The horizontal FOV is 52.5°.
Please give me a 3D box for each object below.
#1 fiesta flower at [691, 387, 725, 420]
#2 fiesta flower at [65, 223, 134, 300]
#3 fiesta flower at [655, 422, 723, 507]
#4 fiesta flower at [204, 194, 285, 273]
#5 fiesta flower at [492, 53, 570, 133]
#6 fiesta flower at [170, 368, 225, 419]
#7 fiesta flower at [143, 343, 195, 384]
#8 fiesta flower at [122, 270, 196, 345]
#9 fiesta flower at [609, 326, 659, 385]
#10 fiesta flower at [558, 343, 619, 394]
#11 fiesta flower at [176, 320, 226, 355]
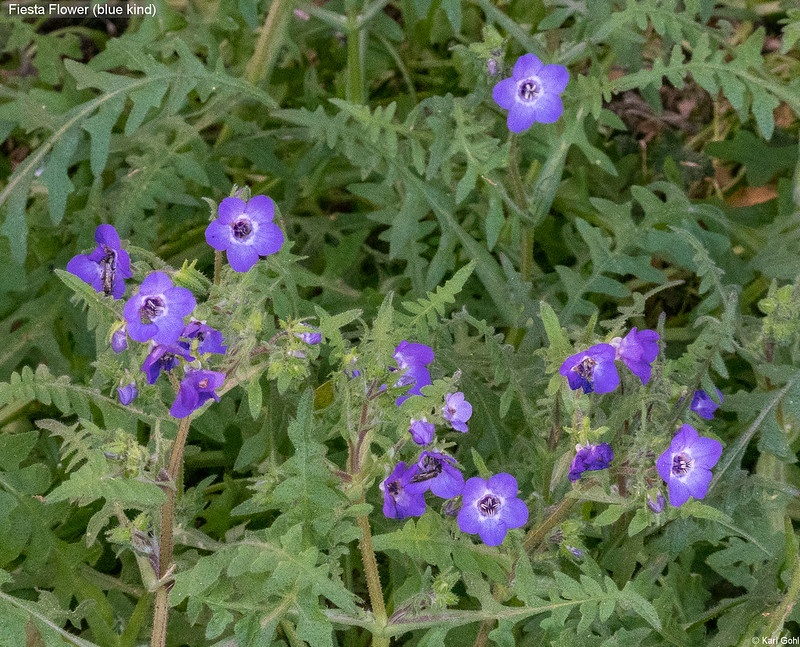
[{"bbox_3d":[0.423,0.113,1.124,0.042,0.047,0.016,21,3,-43],"label":"fiesta flower"},{"bbox_3d":[-0.373,-0.074,1.015,0.077,0.100,0.042,0,-1,29],"label":"fiesta flower"},{"bbox_3d":[0.350,0.161,1.008,0.037,0.090,0.092,9,55,50],"label":"fiesta flower"},{"bbox_3d":[-0.197,-0.112,1.023,0.093,0.084,0.078,6,39,-9],"label":"fiesta flower"},{"bbox_3d":[0.209,-0.348,1.187,0.125,0.039,0.155,-13,8,-8],"label":"fiesta flower"},{"bbox_3d":[-0.231,0.075,0.955,0.044,0.028,0.066,28,-6,-1],"label":"fiesta flower"},{"bbox_3d":[-0.277,0.041,0.954,0.047,0.053,0.024,-28,51,-16],"label":"fiesta flower"},{"bbox_3d":[-0.279,-0.013,0.933,0.077,0.061,0.059,25,40,12],"label":"fiesta flower"},{"bbox_3d":[0.301,0.035,1.031,0.034,0.068,0.068,0,48,34],"label":"fiesta flower"},{"bbox_3d":[0.233,0.053,0.984,0.051,0.074,0.032,10,16,7],"label":"fiesta flower"},{"bbox_3d":[-0.240,0.024,0.964,0.032,0.039,0.018,-9,56,33],"label":"fiesta flower"}]
